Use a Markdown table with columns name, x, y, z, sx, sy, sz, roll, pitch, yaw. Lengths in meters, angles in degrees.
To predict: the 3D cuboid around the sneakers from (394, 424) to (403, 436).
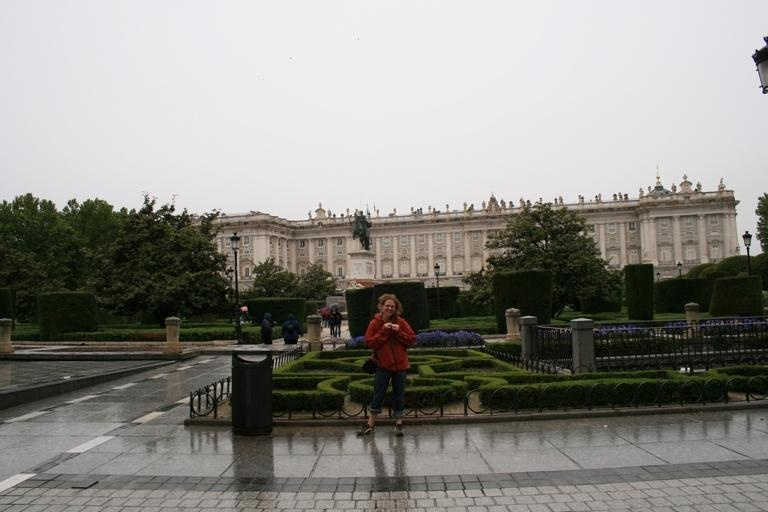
| name | x | y | z | sx | sy | sz | roll | pitch | yaw |
| --- | --- | --- | --- | --- | --- | --- | --- | --- | --- |
| sneakers | 0.301 | 3.649 | 16.354 | 0.158 | 0.162 | 0.443 | -1 | -12 | -2 |

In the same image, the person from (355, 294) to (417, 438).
| name | x | y | z | sx | sy | sz | roll | pitch | yaw |
| --- | --- | --- | --- | --- | --- | --- | --- | --- | --- |
| person | 0.080 | 2.245 | 16.453 | 1.097 | 2.892 | 0.968 | -1 | 10 | 2 |

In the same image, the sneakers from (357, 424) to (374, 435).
| name | x | y | z | sx | sy | sz | roll | pitch | yaw |
| --- | --- | --- | --- | --- | --- | --- | --- | --- | --- |
| sneakers | -0.415 | 3.641 | 16.360 | 0.415 | 0.174 | 0.211 | -6 | 10 | -29 |
